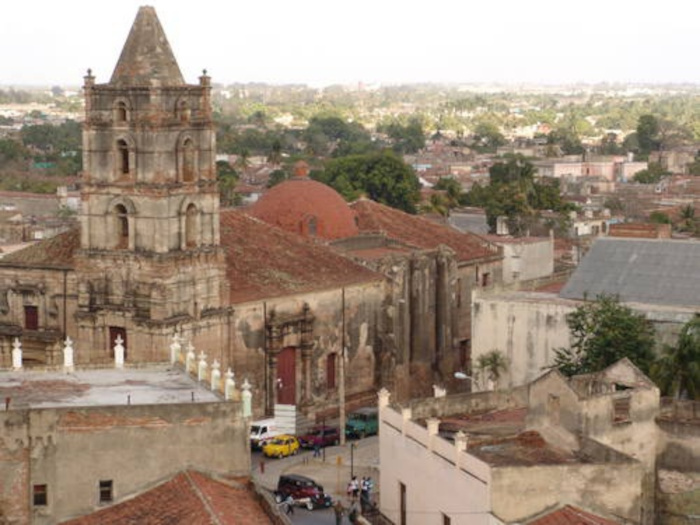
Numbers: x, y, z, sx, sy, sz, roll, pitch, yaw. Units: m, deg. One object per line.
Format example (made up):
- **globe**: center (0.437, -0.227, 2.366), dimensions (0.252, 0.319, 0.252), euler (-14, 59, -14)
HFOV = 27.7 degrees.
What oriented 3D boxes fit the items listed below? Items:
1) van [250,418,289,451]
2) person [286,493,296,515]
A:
- **van**: center (-3.933, 7.823, 65.804), dimensions (1.194, 1.068, 2.054), euler (6, 6, 41)
- **person**: center (-2.449, 9.822, 58.467), dimensions (0.360, 0.693, 1.054), euler (-3, 7, -3)
